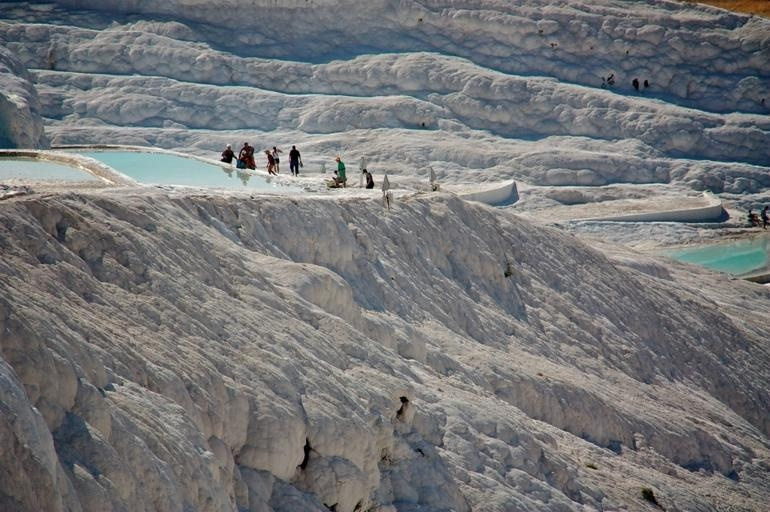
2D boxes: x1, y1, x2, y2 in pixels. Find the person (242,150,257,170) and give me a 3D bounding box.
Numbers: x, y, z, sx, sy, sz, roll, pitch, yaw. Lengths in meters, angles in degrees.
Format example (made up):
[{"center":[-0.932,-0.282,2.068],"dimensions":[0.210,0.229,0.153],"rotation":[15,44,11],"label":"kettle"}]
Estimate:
[{"center":[-8.244,-5.925,116.674],"dimensions":[0.534,1.339,1.038],"rotation":[7,8,36],"label":"person"}]
